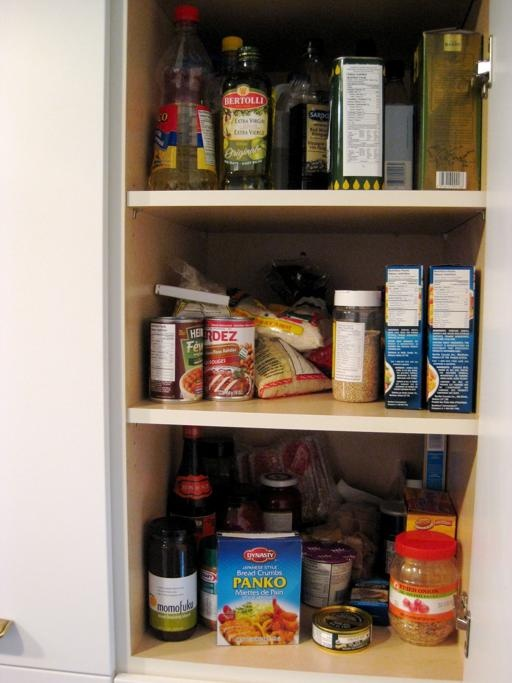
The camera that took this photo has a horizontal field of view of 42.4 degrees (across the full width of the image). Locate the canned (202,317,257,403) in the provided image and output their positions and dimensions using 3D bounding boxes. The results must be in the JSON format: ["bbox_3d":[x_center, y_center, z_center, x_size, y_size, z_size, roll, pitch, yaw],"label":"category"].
[{"bbox_3d":[-0.037,0.027,1.034,0.087,0.132,0.049,-4,6,-18],"label":"canned"}]

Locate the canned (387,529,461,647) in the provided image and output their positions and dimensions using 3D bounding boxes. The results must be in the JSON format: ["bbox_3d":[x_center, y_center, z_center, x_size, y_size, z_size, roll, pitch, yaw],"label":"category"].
[{"bbox_3d":[0.257,0.380,1.026,0.104,0.146,0.102,1,-2,24],"label":"canned"}]

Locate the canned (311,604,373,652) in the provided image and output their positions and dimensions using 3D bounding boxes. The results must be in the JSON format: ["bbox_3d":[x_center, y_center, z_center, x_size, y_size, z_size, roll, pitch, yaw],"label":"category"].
[{"bbox_3d":[0.133,0.443,1.023,0.090,0.038,0.092,-1,6,10],"label":"canned"}]

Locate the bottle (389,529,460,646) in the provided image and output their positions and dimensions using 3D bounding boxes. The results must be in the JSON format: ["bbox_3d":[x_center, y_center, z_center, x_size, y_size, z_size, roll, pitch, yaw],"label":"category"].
[{"bbox_3d":[0.256,0.380,1.009,0.107,0.165,0.091,-1,6,13],"label":"bottle"}]

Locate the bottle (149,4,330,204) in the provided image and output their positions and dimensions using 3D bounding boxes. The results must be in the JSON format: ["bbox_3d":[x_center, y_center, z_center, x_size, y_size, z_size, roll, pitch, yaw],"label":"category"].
[{"bbox_3d":[-0.027,-0.374,1.048,0.280,0.276,0.152,-1,6,6],"label":"bottle"}]

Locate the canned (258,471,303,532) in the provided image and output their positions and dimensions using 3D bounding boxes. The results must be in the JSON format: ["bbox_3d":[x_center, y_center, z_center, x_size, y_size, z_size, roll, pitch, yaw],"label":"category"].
[{"bbox_3d":[0.042,0.287,1.189,0.094,0.142,0.089,-1,-8,-2],"label":"canned"}]
